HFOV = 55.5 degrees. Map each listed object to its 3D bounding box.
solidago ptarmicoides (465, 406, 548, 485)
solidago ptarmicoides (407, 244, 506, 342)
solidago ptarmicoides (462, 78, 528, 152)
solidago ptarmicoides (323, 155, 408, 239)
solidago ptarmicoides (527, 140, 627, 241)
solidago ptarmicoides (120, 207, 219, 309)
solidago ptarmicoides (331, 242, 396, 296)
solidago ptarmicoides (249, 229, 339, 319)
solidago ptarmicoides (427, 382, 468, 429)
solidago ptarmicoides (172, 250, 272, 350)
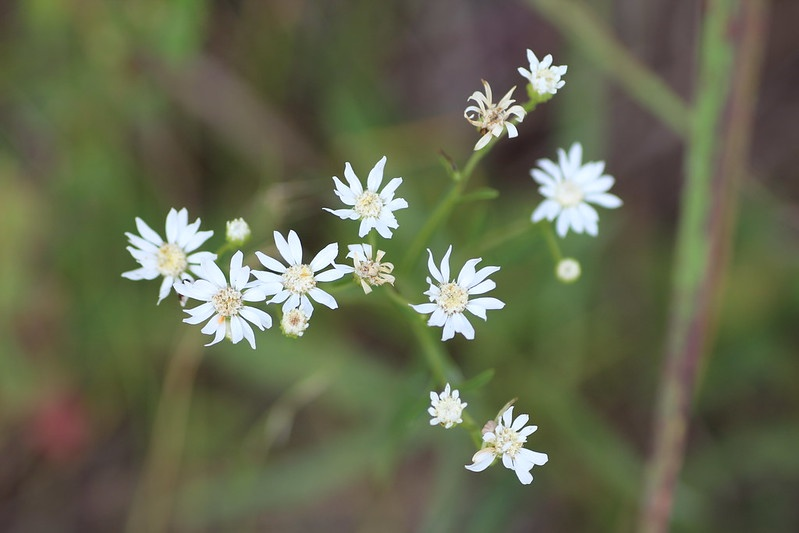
[{"bbox_3d":[0.398,0.648,2.847,0.287,0.308,0.123,30,-8,-33],"label":"solidago ptarmicoides"},{"bbox_3d":[0.203,0.073,2.743,0.296,0.126,0.339,2,18,-33],"label":"solidago ptarmicoides"},{"bbox_3d":[0.365,-0.562,2.818,0.197,0.246,0.301,-2,4,10],"label":"solidago ptarmicoides"},{"bbox_3d":[-0.115,-0.276,2.786,0.280,0.133,0.370,7,-3,23],"label":"solidago ptarmicoides"},{"bbox_3d":[0.653,-0.293,2.818,0.366,0.127,0.396,3,-21,39],"label":"solidago ptarmicoides"},{"bbox_3d":[-0.884,-0.099,2.944,0.321,0.142,0.357,-3,-13,-17],"label":"solidago ptarmicoides"},{"bbox_3d":[-0.105,-0.001,2.717,0.170,0.080,0.214,-11,-17,27],"label":"solidago ptarmicoides"},{"bbox_3d":[-0.371,0.031,2.739,0.328,0.122,0.362,-18,56,-35],"label":"solidago ptarmicoides"},{"bbox_3d":[0.178,0.503,2.794,0.126,0.172,0.236,-3,4,5],"label":"solidago ptarmicoides"},{"bbox_3d":[-0.655,0.102,2.805,0.385,0.172,0.400,3,6,38],"label":"solidago ptarmicoides"}]
